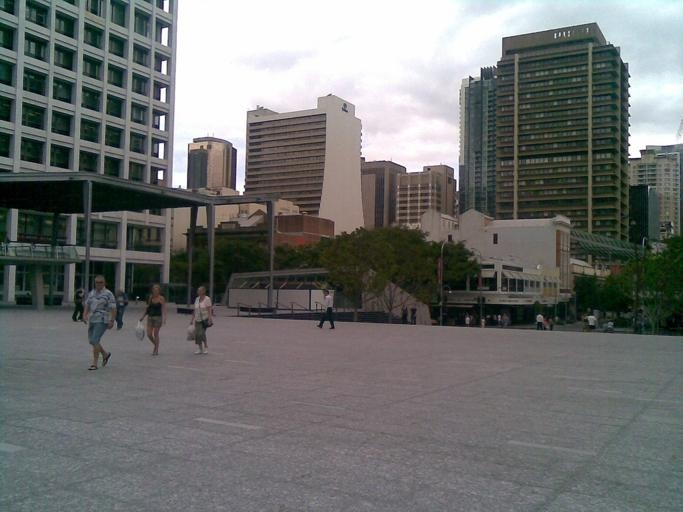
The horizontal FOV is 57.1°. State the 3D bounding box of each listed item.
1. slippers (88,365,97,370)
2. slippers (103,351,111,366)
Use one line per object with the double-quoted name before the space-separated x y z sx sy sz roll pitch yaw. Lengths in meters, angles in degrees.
"slippers" -5.613 2.485 14.141 0.189 0.116 0.213 1 -3 -19
"slippers" -5.617 2.445 15.008 0.139 0.407 0.151 0 -10 32
